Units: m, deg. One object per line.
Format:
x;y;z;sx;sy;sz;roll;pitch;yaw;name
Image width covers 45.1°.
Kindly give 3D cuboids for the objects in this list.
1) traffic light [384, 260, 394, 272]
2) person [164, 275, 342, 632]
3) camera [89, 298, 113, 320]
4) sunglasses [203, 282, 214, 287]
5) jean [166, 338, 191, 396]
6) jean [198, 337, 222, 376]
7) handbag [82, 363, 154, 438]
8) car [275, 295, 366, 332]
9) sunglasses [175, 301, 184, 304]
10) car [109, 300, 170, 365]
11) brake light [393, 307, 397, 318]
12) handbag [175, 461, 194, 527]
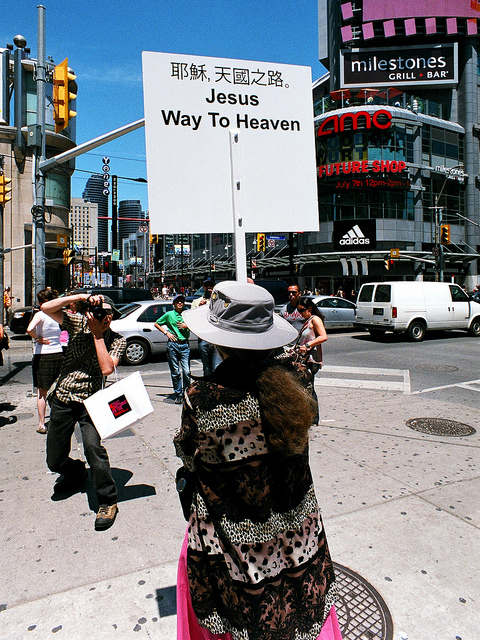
9.342;-3.352;36.150;0.289;0.755;1.022;-6;-22;5;traffic light
0.069;0.538;2.139;0.602;1.346;0.359;-2;4;-7;person
-0.983;-0.065;4.124;0.172;0.127;0.071;-5;6;-40;camera
-0.483;-0.538;9.006;0.118;0.071;0.160;1;9;-9;sunglasses
-0.792;0.665;7.845;0.405;0.813;0.239;2;5;36;jean
-0.408;0.505;7.797;0.266;0.508;0.733;-1;5;-3;jean
-0.878;0.534;4.094;0.418;0.460;0.173;-25;17;-4;handbag
3.247;-0.172;18.668;3.154;1.125;1.493;-5;6;-29;car
-0.823;-0.238;7.901;0.131;0.023;0.038;-6;7;-42;sunglasses
-2.066;0.235;12.061;1.767;0.925;1.038;-6;10;-23;car
4.219;-0.184;15.637;0.105;0.267;0.053;-1;4;-1;brake light
-0.211;0.631;2.156;0.041;0.190;0.128;1;0;-19;handbag
